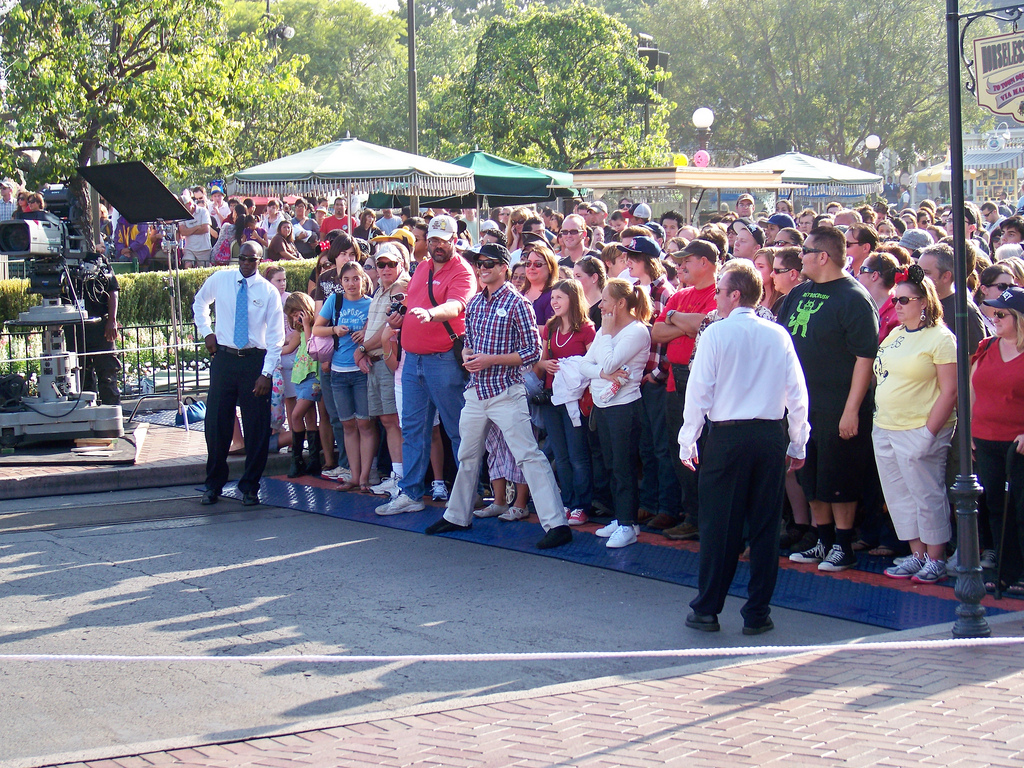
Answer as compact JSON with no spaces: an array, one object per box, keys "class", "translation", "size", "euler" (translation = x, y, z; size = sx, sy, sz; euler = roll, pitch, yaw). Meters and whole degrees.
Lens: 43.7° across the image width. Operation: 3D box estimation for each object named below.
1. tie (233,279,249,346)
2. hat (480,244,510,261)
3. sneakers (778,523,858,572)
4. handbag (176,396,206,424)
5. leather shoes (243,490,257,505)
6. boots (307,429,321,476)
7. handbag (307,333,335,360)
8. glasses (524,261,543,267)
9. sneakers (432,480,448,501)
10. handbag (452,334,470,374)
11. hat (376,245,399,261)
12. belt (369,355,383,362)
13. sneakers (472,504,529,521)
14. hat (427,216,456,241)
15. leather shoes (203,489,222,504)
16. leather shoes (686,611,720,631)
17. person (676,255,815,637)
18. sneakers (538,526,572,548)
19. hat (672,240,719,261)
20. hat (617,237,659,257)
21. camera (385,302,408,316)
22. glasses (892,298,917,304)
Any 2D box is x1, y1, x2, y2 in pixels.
[{"class":"tie","translation":[-2.689,-0.690,12.594],"size":[0.144,0.702,0.192],"euler":[0,0,-7]},{"class":"hat","translation":[-0.161,-1.161,11.250],"size":[0.225,0.185,0.264],"euler":[0,0,9]},{"class":"sneakers","translation":[2.524,1.313,10.286],"size":[0.316,0.224,0.497],"euler":[0,-1,-25]},{"class":"handbag","translation":[-4.280,0.365,16.762],"size":[0.386,0.366,0.696],"euler":[0,0,-15]},{"class":"leather shoes","translation":[-2.644,1.139,12.776],"size":[0.168,0.123,0.235],"euler":[0,0,-12]},{"class":"boots","translation":[-2.219,0.760,14.221],"size":[0.157,0.490,0.292],"euler":[0,0,-8]},{"class":"handbag","translation":[-2.032,-0.370,13.436],"size":[0.172,0.267,0.450],"euler":[0,0,-30]},{"class":"glasses","translation":[0.187,-1.126,12.069],"size":[0.085,0.069,0.177],"euler":[0,0,-40]},{"class":"sneakers","translation":[-0.737,1.072,12.814],"size":[0.163,0.194,0.262],"euler":[0,0,-4]},{"class":"handbag","translation":[-0.500,-0.277,11.761],"size":[0.101,0.270,0.206],"euler":[-1,-2,8]},{"class":"hat","translation":[-1.247,-1.303,12.719],"size":[0.233,0.205,0.359],"euler":[0,0,-6]},{"class":"belt","translation":[-1.384,-0.258,12.844],"size":[0.124,0.080,0.040],"euler":[0,0,16]},{"class":"sneakers","translation":[-0.109,1.215,11.997],"size":[0.518,0.141,0.179],"euler":[3,-7,11]},{"class":"hat","translation":[-0.682,-1.476,12.052],"size":[0.251,0.306,0.519],"euler":[0,0,-4]},{"class":"leather shoes","translation":[-3.061,1.131,12.882],"size":[0.174,0.150,0.273],"euler":[0,0,-15]},{"class":"leather shoes","translation":[1.319,1.662,8.904],"size":[0.108,0.119,0.223],"euler":[-2,8,-41]},{"class":"person","translation":[1.606,0.427,8.845],"size":[0.865,2.570,0.399],"euler":[0,0,8]},{"class":"sneakers","translation":[0.370,1.296,10.946],"size":[0.369,0.132,0.128],"euler":[-13,20,-12]},{"class":"hat","translation":[1.547,-1.105,10.599],"size":[0.291,0.134,0.171],"euler":[0,4,4]},{"class":"hat","translation":[1.180,-1.245,11.563],"size":[0.287,0.139,0.190],"euler":[3,10,6]},{"class":"camera","translation":[-1.137,-0.723,12.307],"size":[0.165,0.113,0.124],"euler":[-21,-14,29]},{"class":"glasses","translation":[2.922,-0.621,9.521],"size":[0.126,0.055,0.043],"euler":[0,0,44]}]
